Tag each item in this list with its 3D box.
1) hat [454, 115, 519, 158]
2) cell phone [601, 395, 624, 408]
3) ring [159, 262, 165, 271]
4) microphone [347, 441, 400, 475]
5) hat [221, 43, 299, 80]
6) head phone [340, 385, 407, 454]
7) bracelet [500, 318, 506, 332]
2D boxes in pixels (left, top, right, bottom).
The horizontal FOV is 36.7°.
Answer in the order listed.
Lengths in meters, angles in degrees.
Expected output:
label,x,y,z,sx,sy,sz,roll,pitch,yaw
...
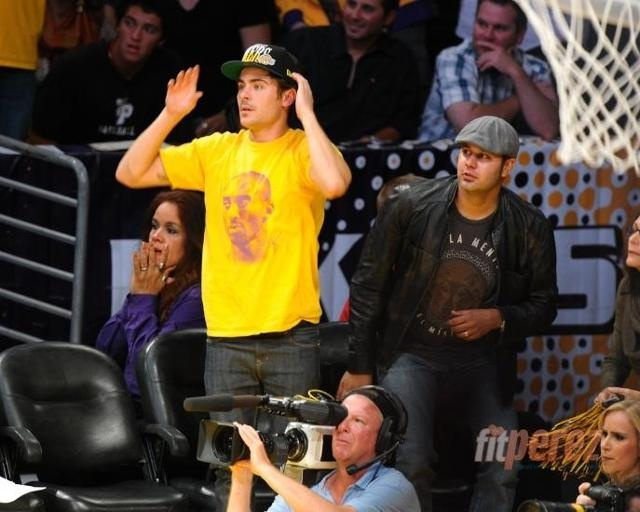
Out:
label,x,y,z,sx,sy,sz,roll,pitch,yaw
hat,0.781,-0.552,4.517,0.248,0.137,0.178,12,-1,-21
cell phone,1.474,0.726,4.865,0.075,0.029,0.056,-31,9,1
ring,-0.930,0.063,5.681,0.028,0.055,0.028,1,0,0
microphone,0.206,0.784,3.701,0.172,0.051,0.130,-23,3,-10
hat,-0.238,-0.866,4.294,0.399,0.136,0.278,-7,15,-45
head phone,0.214,0.644,3.786,0.211,0.256,0.187,19,41,21
bracelet,0.864,0.329,4.553,0.030,0.045,0.012,16,3,38
